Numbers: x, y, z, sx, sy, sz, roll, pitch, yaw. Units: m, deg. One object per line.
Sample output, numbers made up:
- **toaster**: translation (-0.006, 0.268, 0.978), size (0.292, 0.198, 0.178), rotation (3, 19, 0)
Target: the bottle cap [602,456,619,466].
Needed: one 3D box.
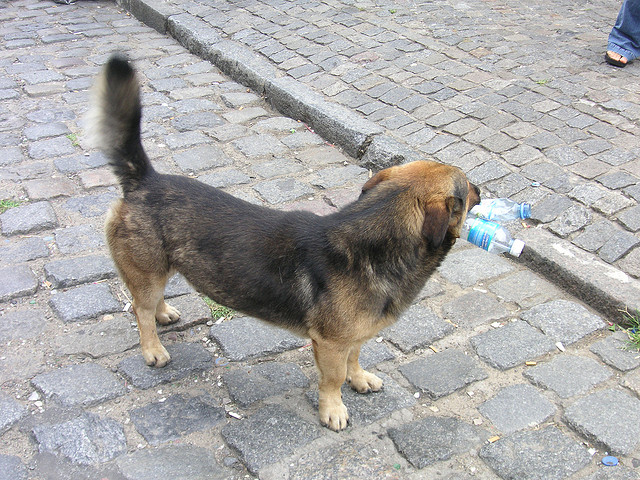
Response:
- **bottle cap**: translation (1.735, 1.321, 2.895), size (0.102, 0.009, 0.059), rotation (1, 38, -2)
